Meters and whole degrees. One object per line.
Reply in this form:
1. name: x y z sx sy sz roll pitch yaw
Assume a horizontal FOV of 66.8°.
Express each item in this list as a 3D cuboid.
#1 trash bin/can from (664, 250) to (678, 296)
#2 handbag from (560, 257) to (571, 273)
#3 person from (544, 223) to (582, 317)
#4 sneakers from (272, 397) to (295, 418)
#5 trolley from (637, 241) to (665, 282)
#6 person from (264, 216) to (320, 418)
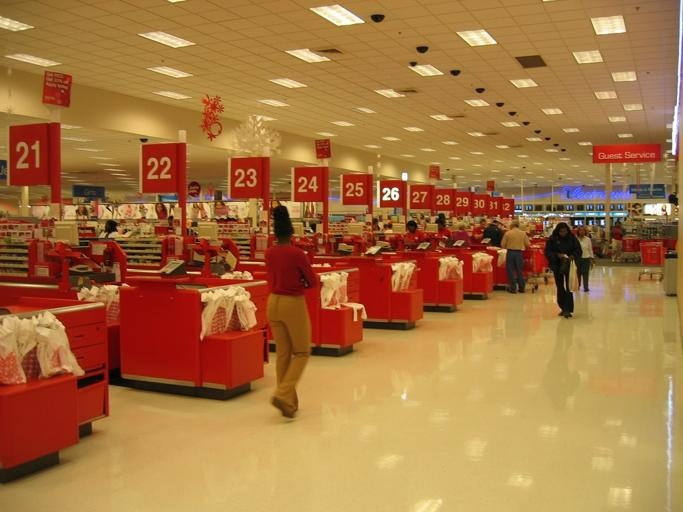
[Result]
1. trash bin/can: 7.877 0.448 12.424 0.222 1.020 0.397 1 4 25
2. handbag: 4.009 0.159 9.280 0.167 0.280 0.134 1 4 20
3. person: 4.092 0.287 9.605 0.606 1.787 0.803 1 4 22
4. sneakers: -0.531 1.385 4.781 0.268 0.096 0.148 31 -4 -9
5. trolley: 10.673 0.176 17.199 1.598 1.184 0.841 1 -2 -35
6. person: -0.477 0.517 4.887 0.462 1.945 0.441 -1 4 -8
